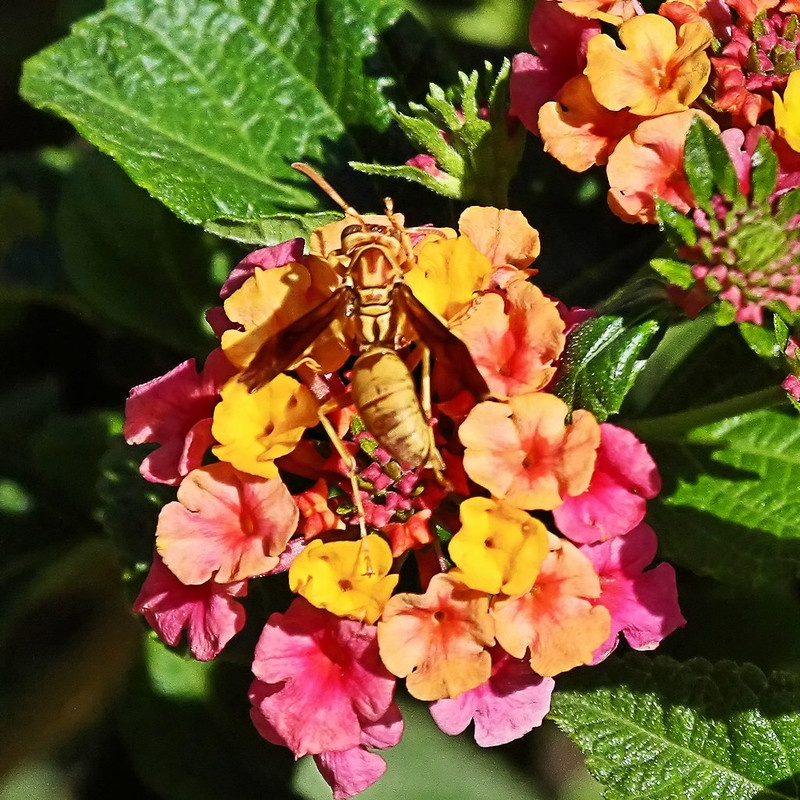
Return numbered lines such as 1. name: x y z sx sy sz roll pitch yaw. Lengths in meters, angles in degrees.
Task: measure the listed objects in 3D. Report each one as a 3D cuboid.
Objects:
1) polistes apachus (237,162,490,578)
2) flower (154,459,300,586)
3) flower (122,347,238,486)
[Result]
1. polistes apachus: -0.022 -0.044 0.886 0.323 0.098 0.280 -6 88 13
2. flower: -0.163 0.122 0.866 0.123 0.098 0.121 23 78 5
3. flower: -0.197 0.014 0.978 0.155 0.061 0.130 12 77 22
